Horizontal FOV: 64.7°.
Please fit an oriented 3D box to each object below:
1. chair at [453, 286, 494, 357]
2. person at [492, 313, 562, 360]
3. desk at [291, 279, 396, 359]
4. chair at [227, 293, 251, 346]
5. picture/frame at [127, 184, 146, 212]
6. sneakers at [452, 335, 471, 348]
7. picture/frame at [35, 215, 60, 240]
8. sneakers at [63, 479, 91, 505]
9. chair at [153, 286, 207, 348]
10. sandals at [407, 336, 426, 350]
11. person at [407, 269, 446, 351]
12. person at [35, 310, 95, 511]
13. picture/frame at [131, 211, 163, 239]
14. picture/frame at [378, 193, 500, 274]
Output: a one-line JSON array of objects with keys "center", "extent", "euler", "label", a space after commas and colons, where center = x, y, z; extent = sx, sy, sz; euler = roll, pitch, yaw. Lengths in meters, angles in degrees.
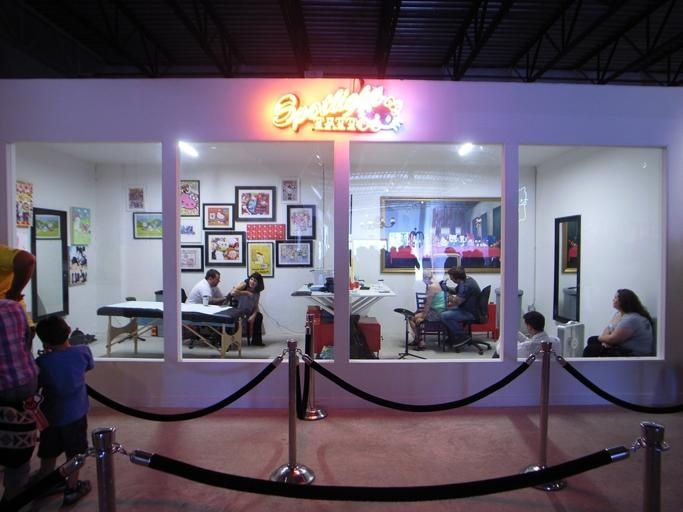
[{"center": [1.791, 0.855, 7.222], "extent": [0.676, 1.157, 0.733], "euler": [1, -2, 22], "label": "chair"}, {"center": [2.205, 0.956, 6.442], "extent": [0.763, 0.585, 1.004], "euler": [0, 1, 22], "label": "person"}, {"center": [0.057, 0.758, 6.718], "extent": [0.896, 0.627, 0.889], "euler": [0, -1, -2], "label": "desk"}, {"center": [-1.324, 0.749, 6.951], "extent": [0.162, 0.484, 0.330], "euler": [-1, -2, -21], "label": "chair"}, {"center": [-2.522, -0.711, 6.619], "extent": [0.308, 0.432, 0.027], "euler": [0, -1, -2], "label": "picture/frame"}, {"center": [1.520, 1.084, 6.854], "extent": [0.282, 0.124, 0.095], "euler": [-7, -4, -41], "label": "sneakers"}, {"center": [-3.606, -0.348, 6.538], "extent": [0.272, 0.284, 0.027], "euler": [0, -3, -7], "label": "picture/frame"}, {"center": [-2.482, 2.198, 5.069], "extent": [0.105, 0.128, 0.291], "euler": [2, 7, 11], "label": "sneakers"}, {"center": [-2.034, 0.780, 7.052], "extent": [0.601, 1.033, 0.655], "euler": [1, -2, -5], "label": "chair"}, {"center": [0.947, 1.105, 6.822], "extent": [0.093, 0.127, 0.288], "euler": [1, 2, -1], "label": "sandals"}, {"center": [1.208, 0.793, 7.277], "extent": [0.631, 1.052, 0.721], "euler": [-3, 10, 20], "label": "person"}, {"center": [-2.636, 1.327, 5.092], "extent": [0.484, 1.615, 0.287], "euler": [-1, 0, -25], "label": "person"}, {"center": [-2.380, -0.384, 6.599], "extent": [0.314, 0.269, 0.022], "euler": [0, -4, 1], "label": "picture/frame"}, {"center": [1.243, -0.268, 6.895], "extent": [1.506, 0.988, 0.459], "euler": [-1, 0, 4], "label": "picture/frame"}]
